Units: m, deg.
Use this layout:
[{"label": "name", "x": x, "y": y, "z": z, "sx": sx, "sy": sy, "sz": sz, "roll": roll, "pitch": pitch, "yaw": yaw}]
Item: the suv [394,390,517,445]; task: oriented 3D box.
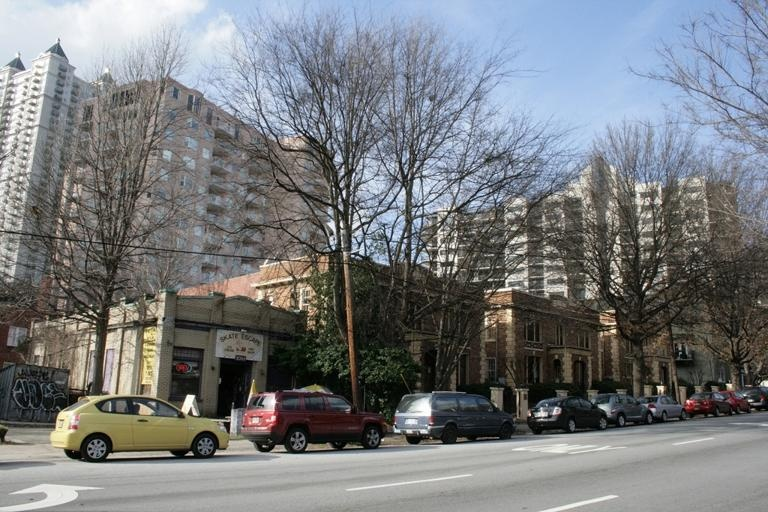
[{"label": "suv", "x": 3.595, "y": 7.748, "z": 31.142, "sx": 5.849, "sy": 2.287, "sz": 1.882, "roll": 7, "pitch": -17, "yaw": -25}]

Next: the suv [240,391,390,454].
[{"label": "suv", "x": -3.089, "y": 6.910, "z": 27.510, "sx": 5.042, "sy": 1.885, "sz": 2.628, "roll": 3, "pitch": -10, "yaw": -32}]

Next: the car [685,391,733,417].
[{"label": "car", "x": 22.758, "y": 10.386, "z": 45.685, "sx": 3.721, "sy": 1.652, "sz": 1.431, "roll": 9, "pitch": -17, "yaw": -31}]

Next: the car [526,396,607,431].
[{"label": "car", "x": 10.185, "y": 8.621, "z": 35.531, "sx": 4.096, "sy": 1.280, "sz": 1.939, "roll": 5, "pitch": -10, "yaw": -35}]

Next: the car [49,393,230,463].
[{"label": "car", "x": -9.116, "y": 6.184, "z": 24.420, "sx": 5.446, "sy": 1.868, "sz": 2.683, "roll": 3, "pitch": -11, "yaw": -28}]
